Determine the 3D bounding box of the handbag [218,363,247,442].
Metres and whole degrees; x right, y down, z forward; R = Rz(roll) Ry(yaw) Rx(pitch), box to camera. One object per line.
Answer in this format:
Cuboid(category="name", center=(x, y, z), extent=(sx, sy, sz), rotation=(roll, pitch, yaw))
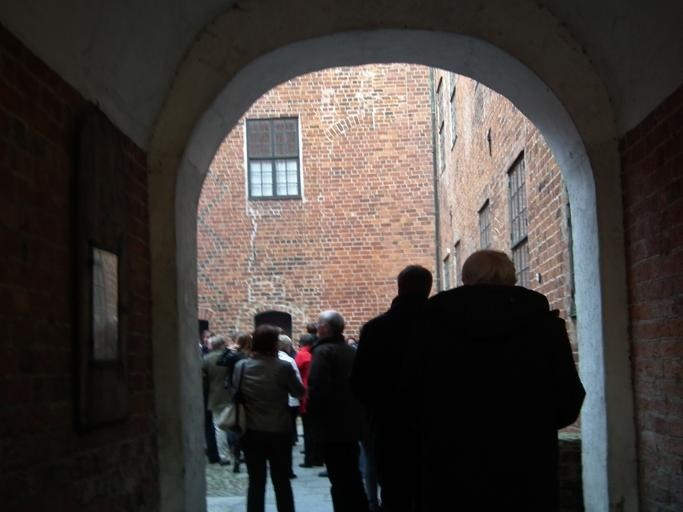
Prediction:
Cuboid(category="handbag", center=(-0.832, 1.149, 4.830), extent=(0.146, 0.581, 0.276), rotation=(7, -8, -6))
